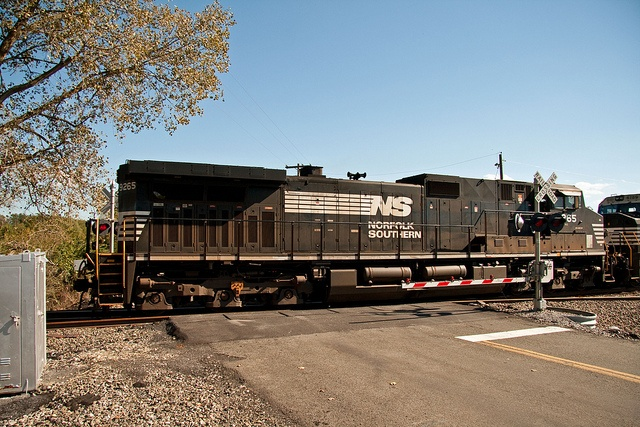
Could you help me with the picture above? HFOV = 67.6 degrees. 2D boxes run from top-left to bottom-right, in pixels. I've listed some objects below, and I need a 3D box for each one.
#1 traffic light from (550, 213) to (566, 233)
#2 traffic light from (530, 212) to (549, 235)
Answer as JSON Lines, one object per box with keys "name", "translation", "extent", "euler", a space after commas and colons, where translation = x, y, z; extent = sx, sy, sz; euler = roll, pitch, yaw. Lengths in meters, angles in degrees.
{"name": "traffic light", "translation": [7.645, 0.288, 15.460], "extent": [0.419, 0.490, 0.576], "euler": [4, 6, 27]}
{"name": "traffic light", "translation": [7.249, 0.319, 15.774], "extent": [0.552, 0.644, 0.325], "euler": [5, 7, 40]}
